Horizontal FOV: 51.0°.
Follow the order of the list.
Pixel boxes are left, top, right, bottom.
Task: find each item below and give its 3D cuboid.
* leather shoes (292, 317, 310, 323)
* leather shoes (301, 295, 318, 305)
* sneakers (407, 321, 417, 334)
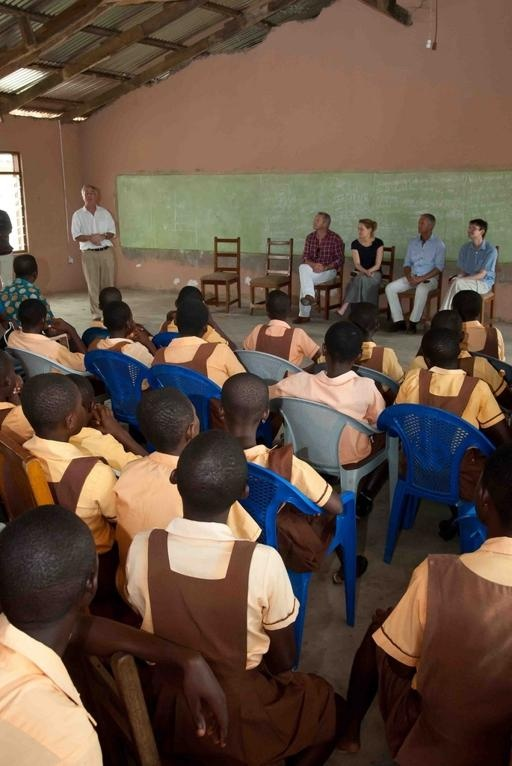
[{"bbox_3d":[0.524,-0.739,6.295,0.224,0.086,0.076,-7,17,-36],"label":"leather shoes"},{"bbox_3d":[0.607,-0.965,6.181,0.131,0.118,0.220,10,14,25],"label":"leather shoes"},{"bbox_3d":[1.693,-0.632,5.782,0.070,0.145,0.203,8,51,8],"label":"sneakers"}]
